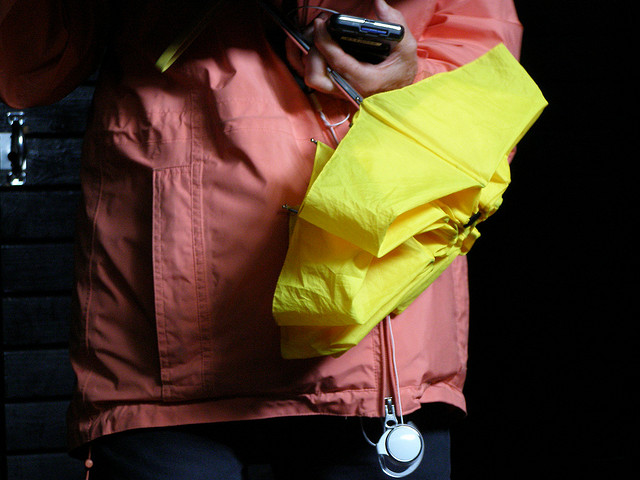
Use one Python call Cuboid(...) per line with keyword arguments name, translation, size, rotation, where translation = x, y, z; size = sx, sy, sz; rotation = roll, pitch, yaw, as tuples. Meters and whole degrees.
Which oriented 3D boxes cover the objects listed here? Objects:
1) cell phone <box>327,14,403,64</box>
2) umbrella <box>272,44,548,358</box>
Cuboid(name="cell phone", translation=(0.096, -0.369, 1.408), size=(0.168, 0.034, 0.169), rotation=(15, 1, 45))
Cuboid(name="umbrella", translation=(0.150, -0.121, 1.433), size=(0.332, 0.269, 0.626), rotation=(36, 52, 18))
